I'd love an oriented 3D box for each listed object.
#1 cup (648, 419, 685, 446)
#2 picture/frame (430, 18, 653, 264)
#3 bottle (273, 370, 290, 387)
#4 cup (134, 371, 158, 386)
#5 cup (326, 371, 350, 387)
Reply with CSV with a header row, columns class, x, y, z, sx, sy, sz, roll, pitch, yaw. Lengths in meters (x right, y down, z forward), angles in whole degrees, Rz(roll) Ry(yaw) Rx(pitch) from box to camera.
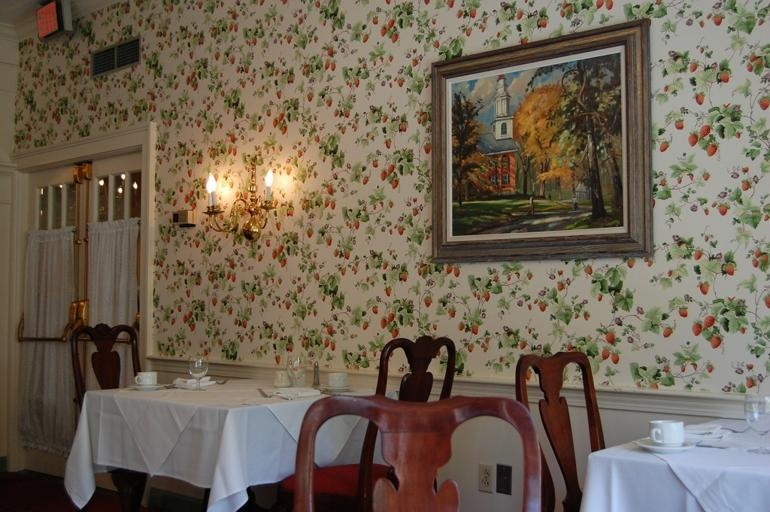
class,x,y,z,sx,sy,sz,roll,pitch,yaw
cup,1.142,0.698,2.555,0.115,0.087,0.090,-2,-2,-29
picture/frame,0.963,-0.653,3.691,1.240,1.367,0.099,-4,-8,28
bottle,-0.651,0.766,3.952,0.085,0.092,0.087,3,-9,-33
cup,-1.432,0.726,3.783,0.124,0.092,0.098,0,0,-30
cup,-0.304,0.753,3.869,0.093,0.086,0.082,0,-8,5
